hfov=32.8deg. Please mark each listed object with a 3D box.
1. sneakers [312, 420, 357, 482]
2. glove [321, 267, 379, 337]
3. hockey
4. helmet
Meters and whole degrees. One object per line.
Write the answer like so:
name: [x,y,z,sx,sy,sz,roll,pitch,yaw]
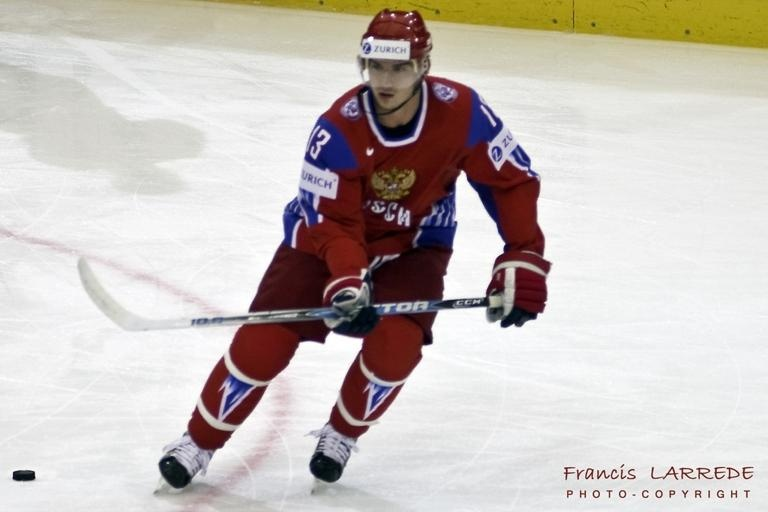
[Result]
sneakers: [-0.200,0.732,4.912,0.141,0.082,0.206,26,39,-9]
glove: [-0.108,0.164,4.865,0.297,0.175,0.233,1,35,16]
hockey: [-0.357,0.111,4.732,1.708,0.314,0.057,-5,18,22]
helmet: [0.009,-0.735,4.957,0.308,0.258,0.321,3,-1,3]
